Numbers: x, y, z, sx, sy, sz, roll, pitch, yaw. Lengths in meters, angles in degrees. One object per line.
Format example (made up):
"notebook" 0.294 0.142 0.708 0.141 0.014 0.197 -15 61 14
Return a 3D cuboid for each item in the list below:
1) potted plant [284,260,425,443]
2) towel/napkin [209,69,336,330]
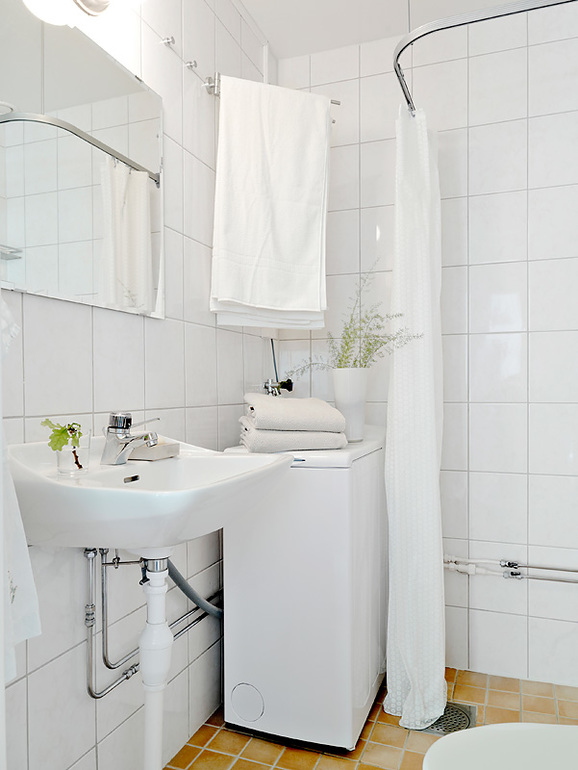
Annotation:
"potted plant" 0.225 -0.123 2.204 0.449 0.583 0.394 -1 3 -8
"towel/napkin" -0.053 -0.572 2.046 0.496 0.780 0.129 -5 3 -33
